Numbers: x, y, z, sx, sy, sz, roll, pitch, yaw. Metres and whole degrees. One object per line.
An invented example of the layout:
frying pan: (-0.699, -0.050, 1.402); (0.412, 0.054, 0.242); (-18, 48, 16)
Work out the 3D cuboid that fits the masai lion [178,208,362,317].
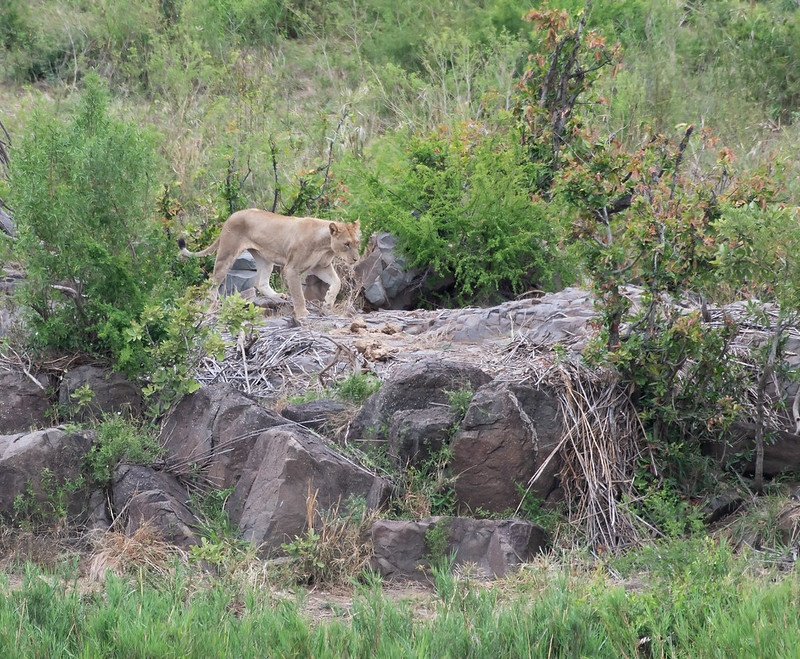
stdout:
masai lion: (-1.262, -0.771, 11.882); (1.608, 1.059, 1.105); (7, 8, -5)
